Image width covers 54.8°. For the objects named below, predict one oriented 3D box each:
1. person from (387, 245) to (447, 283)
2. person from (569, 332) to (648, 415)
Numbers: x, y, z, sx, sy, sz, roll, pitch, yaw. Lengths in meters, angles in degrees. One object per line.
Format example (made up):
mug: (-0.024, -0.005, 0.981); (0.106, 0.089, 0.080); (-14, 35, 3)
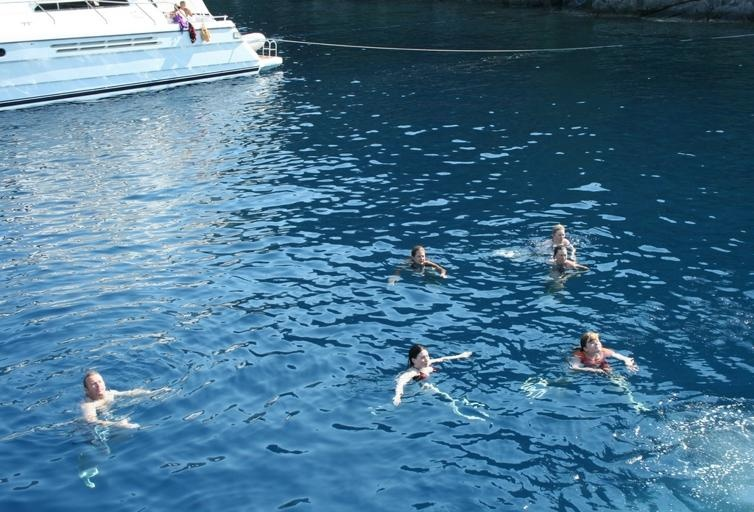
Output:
person: (1.224, 0.108, 19.698); (1.423, 0.809, 0.827); (2, 31, 15)
person: (4.905, 2.445, 16.204); (1.574, 0.623, 1.732); (-6, 17, 7)
